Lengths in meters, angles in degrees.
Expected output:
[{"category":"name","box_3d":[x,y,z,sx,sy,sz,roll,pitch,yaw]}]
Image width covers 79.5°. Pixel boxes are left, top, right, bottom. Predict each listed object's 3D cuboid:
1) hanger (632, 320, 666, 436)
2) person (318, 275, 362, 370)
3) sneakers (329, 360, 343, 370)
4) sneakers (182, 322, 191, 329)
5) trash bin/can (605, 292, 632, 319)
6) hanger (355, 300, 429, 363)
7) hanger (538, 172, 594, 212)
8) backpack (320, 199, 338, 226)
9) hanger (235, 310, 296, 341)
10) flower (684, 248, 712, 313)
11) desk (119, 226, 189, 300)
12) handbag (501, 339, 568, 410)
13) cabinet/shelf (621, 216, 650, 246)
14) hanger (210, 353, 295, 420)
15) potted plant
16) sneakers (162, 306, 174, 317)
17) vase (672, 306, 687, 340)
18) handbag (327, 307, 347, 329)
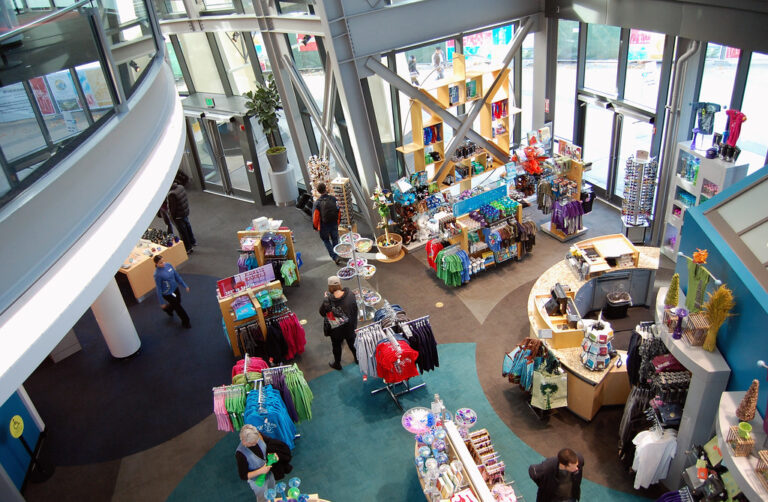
[{"category":"hanger","box_3d":[4.072,1.978,7.140,0.368,1.425,0.884,8,29,31]},{"category":"person","box_3d":[-0.864,1.407,9.078,0.707,2.111,0.656,-14,31,-18]},{"category":"sneakers","box_3d":[-0.990,2.361,9.419,0.126,0.193,0.264,-22,40,-36]},{"category":"sneakers","box_3d":[-4.588,1.727,10.719,0.223,0.100,0.102,10,26,32]},{"category":"trash bin/can","box_3d":[4.947,1.159,9.814,0.532,0.524,0.277,-8,24,-2]},{"category":"hanger","box_3d":[0.214,1.648,8.261,1.369,0.991,0.934,-11,19,-8]},{"category":"hanger","box_3d":[4.728,-1.526,11.953,1.076,0.572,1.056,-20,38,-19]},{"category":"backpack","box_3d":[-1.376,-0.953,11.365,0.311,0.579,0.457,19,30,41]},{"category":"hanger","box_3d":[-2.404,1.490,9.380,1.179,0.302,0.387,-12,25,-10]},{"category":"flower","box_3d":[4.330,0.393,6.366,0.278,0.855,0.461,3,27,22]},{"category":"desk","box_3d":[-5.223,0.384,10.450,1.459,0.728,1.001,17,34,35]},{"category":"handbag","box_3d":[2.692,2.209,8.134,0.397,0.927,0.924,-18,31,-25]},{"category":"cabinet/shelf","box_3d":[6.090,-0.511,11.253,0.539,0.714,0.266,1,26,18]},{"category":"hanger","box_3d":[-2.027,2.447,7.679,0.926,0.656,1.334,-6,17,-2]},{"category":"potted plant","box_3d":[-3.475,-3.745,13.853,1.001,2.777,1.196,-13,25,-12]},{"category":"sneakers","box_3d":[-5.076,1.438,10.864,0.113,0.236,0.326,-48,39,-8]},{"category":"vase","box_3d":[4.068,1.002,6.363,0.144,0.363,0.305,10,30,34]},{"category":"handbag","box_3d":[-0.876,1.236,8.613,0.293,0.311,0.157,-25,8,19]}]
